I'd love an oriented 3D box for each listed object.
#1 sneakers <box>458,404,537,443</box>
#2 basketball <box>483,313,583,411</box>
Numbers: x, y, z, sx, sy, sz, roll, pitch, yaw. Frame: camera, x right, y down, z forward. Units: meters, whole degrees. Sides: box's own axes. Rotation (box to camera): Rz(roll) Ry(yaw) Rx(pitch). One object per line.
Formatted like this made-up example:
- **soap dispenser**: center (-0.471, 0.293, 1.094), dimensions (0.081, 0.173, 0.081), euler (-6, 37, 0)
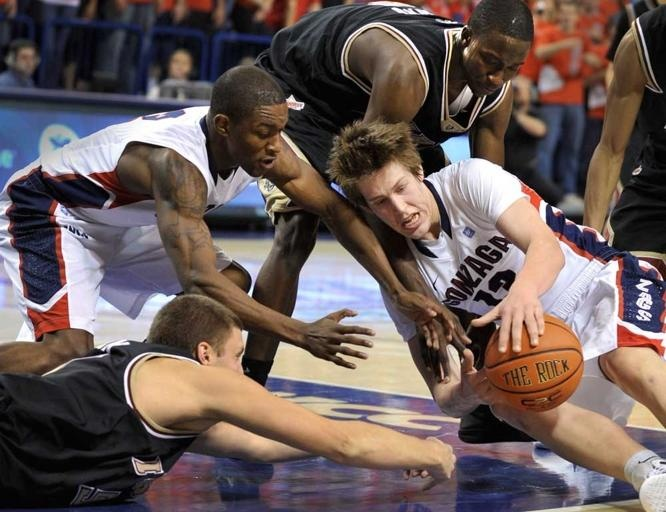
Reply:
- **sneakers**: center (0.768, 0.811, 3.984), dimensions (0.311, 0.111, 0.196), euler (11, -3, 2)
- **basketball**: center (0.705, 0.396, 3.242), dimensions (0.381, 0.326, 0.342), euler (2, 14, 0)
